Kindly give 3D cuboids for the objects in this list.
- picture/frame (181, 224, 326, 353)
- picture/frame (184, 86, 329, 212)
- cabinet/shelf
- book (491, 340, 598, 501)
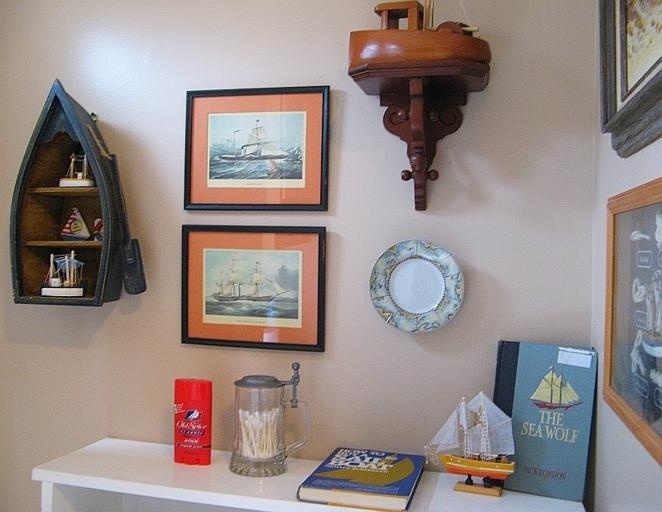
[{"bbox_3d":[-0.264,0.121,2.210,0.433,0.403,0.022,1,-2,11],"label":"picture/frame"},{"bbox_3d":[-0.252,-0.403,2.200,0.425,0.394,0.029,1,2,10],"label":"picture/frame"},{"bbox_3d":[-0.980,-0.229,2.275,0.402,0.830,0.272,-1,-4,23],"label":"cabinet/shelf"},{"bbox_3d":[0.720,0.516,1.916,0.323,0.494,0.134,5,-5,20],"label":"book"}]
